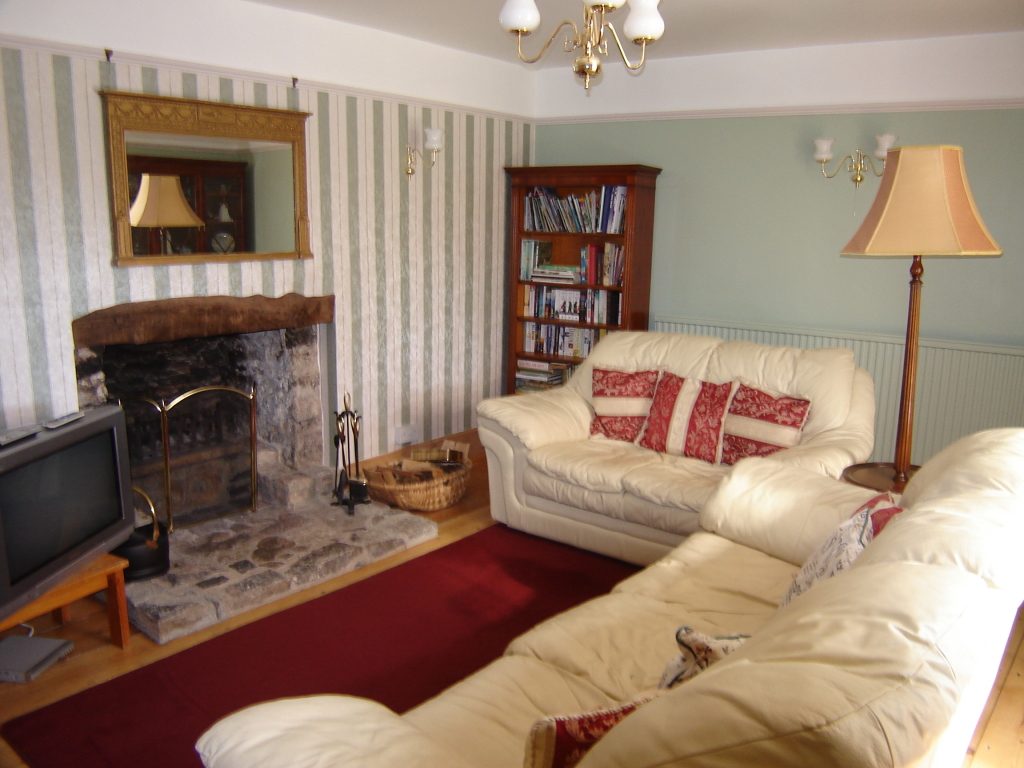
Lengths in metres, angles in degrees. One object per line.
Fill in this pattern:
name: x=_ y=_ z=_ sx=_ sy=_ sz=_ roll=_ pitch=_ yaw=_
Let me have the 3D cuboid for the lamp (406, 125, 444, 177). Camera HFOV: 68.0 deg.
lamp: x=-0.592 y=-1.574 z=5.219 sx=0.244 sy=0.353 sz=0.149 roll=-2 pitch=-10 yaw=4

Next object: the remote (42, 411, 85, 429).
remote: x=-1.814 y=0.143 z=3.029 sx=0.118 sy=0.029 sz=0.120 roll=5 pitch=14 yaw=37

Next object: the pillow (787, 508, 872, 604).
pillow: x=1.035 y=0.525 z=2.409 sx=0.270 sy=0.091 sz=0.270 roll=-38 pitch=-25 yaw=28

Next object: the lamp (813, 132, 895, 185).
lamp: x=2.218 y=-1.446 z=4.935 sx=0.156 sy=0.330 sz=0.513 roll=-17 pitch=20 yaw=-35

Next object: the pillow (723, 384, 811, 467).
pillow: x=1.306 y=0.238 z=3.978 sx=0.142 sy=0.495 sz=0.479 roll=16 pitch=-6 yaw=-37

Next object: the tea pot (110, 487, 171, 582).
tea pot: x=-1.769 y=0.701 z=3.587 sx=0.266 sy=0.373 sz=0.332 roll=10 pitch=11 yaw=25

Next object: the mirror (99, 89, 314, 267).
mirror: x=-1.692 y=-1.120 z=4.092 sx=0.075 sy=0.798 sz=1.017 roll=5 pitch=9 yaw=39

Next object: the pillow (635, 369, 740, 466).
pillow: x=0.961 y=0.195 z=4.125 sx=0.131 sy=0.447 sz=0.447 roll=22 pitch=-6 yaw=-40
